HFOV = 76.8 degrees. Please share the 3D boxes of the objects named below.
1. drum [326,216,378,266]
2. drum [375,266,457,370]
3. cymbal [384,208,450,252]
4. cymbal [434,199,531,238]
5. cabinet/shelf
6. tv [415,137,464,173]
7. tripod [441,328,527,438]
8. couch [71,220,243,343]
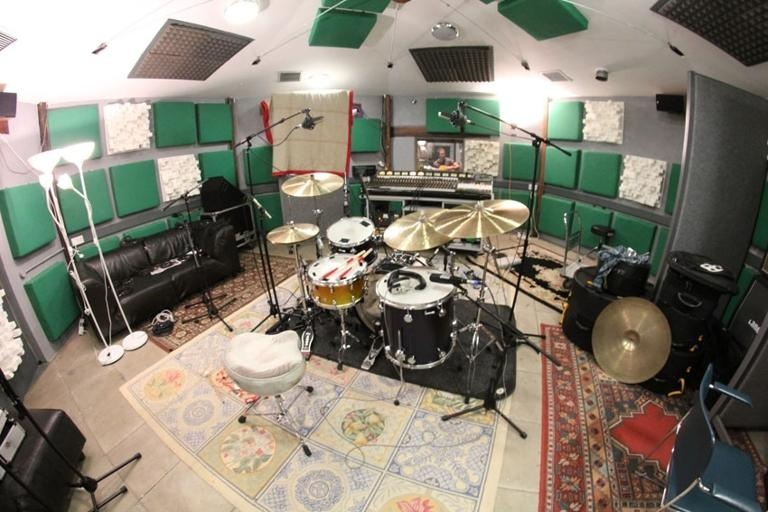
[{"bbox_3d":[-0.407,-0.146,6.670,0.642,0.450,0.610,-5,38,4],"label":"drum"},{"bbox_3d":[0.634,0.704,5.869,1.125,1.031,1.087,-2,27,17],"label":"drum"},{"bbox_3d":[0.388,-0.252,5.832,0.619,0.164,0.608,-34,41,-19],"label":"cymbal"},{"bbox_3d":[1.090,-0.392,5.419,1.090,0.372,0.633,-2,18,6],"label":"cymbal"},{"bbox_3d":[3.008,0.642,6.208,1.657,1.548,1.799,-3,26,3],"label":"cabinet/shelf"},{"bbox_3d":[1.110,-1.954,9.325,0.984,0.641,0.064,3,27,12],"label":"tv"},{"bbox_3d":[1.183,1.562,5.740,0.877,0.949,0.736,-16,54,-14],"label":"tripod"},{"bbox_3d":[-3.454,0.254,7.457,2.212,0.900,0.958,-28,37,-34],"label":"couch"}]
